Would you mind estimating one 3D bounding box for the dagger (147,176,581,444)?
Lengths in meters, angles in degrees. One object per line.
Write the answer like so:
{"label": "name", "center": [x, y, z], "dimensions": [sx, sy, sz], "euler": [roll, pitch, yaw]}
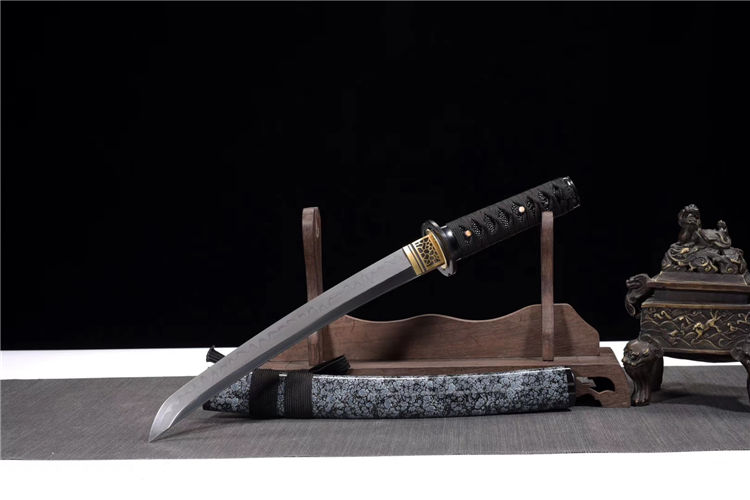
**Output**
{"label": "dagger", "center": [0.017, 0.288, 3.721], "dimensions": [2.305, 0.478, 0.307], "euler": [-26, -23, 10]}
